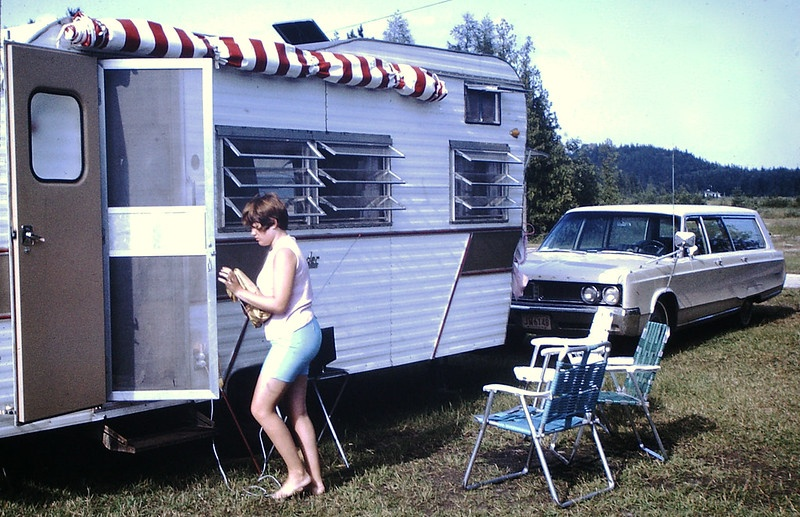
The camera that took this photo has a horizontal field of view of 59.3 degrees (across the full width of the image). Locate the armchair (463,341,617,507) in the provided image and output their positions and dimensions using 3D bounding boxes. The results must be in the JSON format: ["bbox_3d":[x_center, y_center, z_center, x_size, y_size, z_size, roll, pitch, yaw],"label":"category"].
[{"bbox_3d":[1.306,1.433,6.740,1.391,1.911,1.307,-1,3,-45],"label":"armchair"}]

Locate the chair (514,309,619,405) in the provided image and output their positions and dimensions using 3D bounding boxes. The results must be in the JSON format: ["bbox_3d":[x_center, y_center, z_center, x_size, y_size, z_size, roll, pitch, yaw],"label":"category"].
[{"bbox_3d":[1.687,0.928,7.172,0.970,1.390,1.022,-1,-4,11],"label":"chair"}]

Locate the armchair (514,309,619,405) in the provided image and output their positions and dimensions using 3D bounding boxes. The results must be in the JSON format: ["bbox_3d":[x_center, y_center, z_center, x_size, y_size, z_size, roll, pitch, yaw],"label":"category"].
[{"bbox_3d":[1.686,0.916,7.188,0.970,1.390,1.022,-1,-4,11],"label":"armchair"}]

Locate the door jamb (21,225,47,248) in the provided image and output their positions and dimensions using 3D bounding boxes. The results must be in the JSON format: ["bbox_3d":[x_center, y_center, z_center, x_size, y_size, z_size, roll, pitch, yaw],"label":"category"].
[{"bbox_3d":[-3.025,-0.183,5.801,0.153,0.162,0.051,1,-3,-20],"label":"door jamb"}]

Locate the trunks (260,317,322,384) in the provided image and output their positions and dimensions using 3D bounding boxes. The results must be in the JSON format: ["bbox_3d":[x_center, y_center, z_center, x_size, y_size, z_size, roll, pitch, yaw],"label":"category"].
[{"bbox_3d":[-0.898,0.711,6.061,0.419,0.666,0.479,17,18,-1],"label":"trunks"}]
